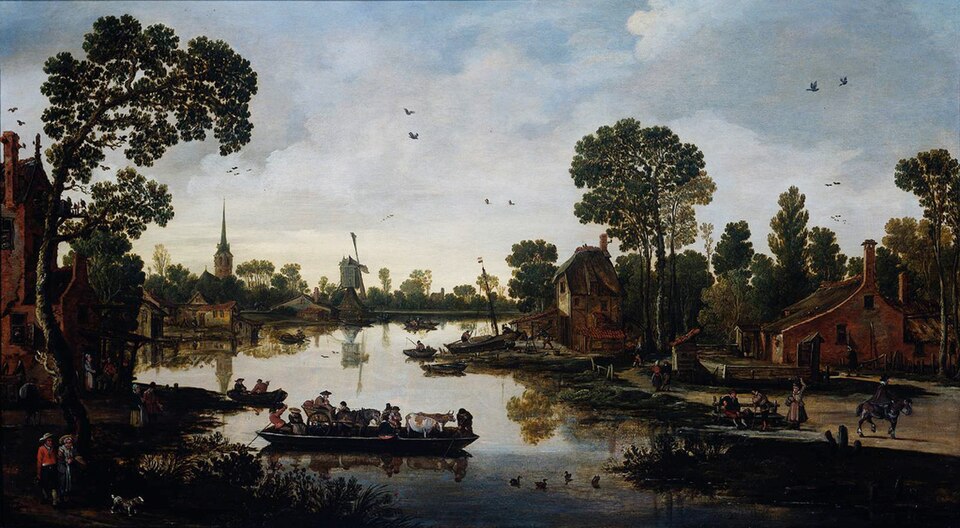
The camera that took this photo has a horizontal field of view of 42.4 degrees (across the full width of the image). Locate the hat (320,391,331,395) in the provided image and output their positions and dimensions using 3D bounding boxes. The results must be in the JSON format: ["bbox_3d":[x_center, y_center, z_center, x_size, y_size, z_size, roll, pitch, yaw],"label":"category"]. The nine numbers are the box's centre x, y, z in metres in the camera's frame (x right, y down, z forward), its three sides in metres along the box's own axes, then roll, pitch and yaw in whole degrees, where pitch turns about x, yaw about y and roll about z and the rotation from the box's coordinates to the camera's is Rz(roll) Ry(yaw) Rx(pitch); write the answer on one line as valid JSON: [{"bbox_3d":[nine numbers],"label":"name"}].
[{"bbox_3d":[-11.700,9.872,92.491,0.686,0.188,0.634,-1,-3,15],"label":"hat"}]

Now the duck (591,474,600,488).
[{"bbox_3d":[8.436,16.052,90.403,0.752,1.001,0.672,0,-7,7],"label":"duck"}]

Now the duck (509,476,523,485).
[{"bbox_3d":[2.554,16.199,91.041,0.901,0.662,0.650,1,-8,1],"label":"duck"}]
